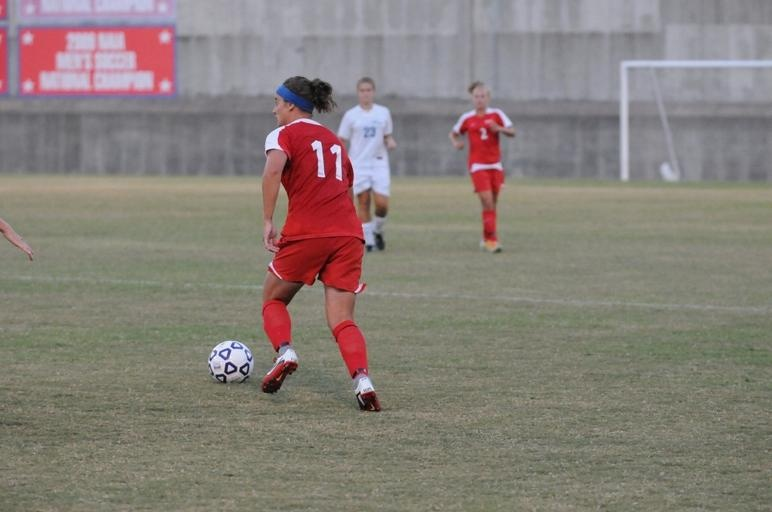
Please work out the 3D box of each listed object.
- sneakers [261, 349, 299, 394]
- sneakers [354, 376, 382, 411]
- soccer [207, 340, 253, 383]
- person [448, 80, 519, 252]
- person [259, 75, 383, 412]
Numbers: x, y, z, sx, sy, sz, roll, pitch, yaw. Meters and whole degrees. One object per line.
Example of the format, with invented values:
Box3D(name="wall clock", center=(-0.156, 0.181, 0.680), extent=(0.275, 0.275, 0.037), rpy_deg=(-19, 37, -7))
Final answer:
Box3D(name="sneakers", center=(-0.847, 0.920, 14.384), extent=(0.122, 0.340, 0.187), rpy_deg=(46, 16, 5))
Box3D(name="sneakers", center=(-0.163, 1.061, 14.071), extent=(0.182, 0.285, 0.105), rpy_deg=(-19, 22, 15))
Box3D(name="soccer", center=(-1.311, 0.856, 14.652), extent=(0.365, 0.326, 0.340), rpy_deg=(1, -23, -14))
Box3D(name="person", center=(0.916, -0.870, 17.388), extent=(0.558, 1.658, 0.357), rpy_deg=(0, 5, 27))
Box3D(name="person", center=(-0.573, 0.047, 14.300), extent=(0.913, 2.289, 0.782), rpy_deg=(-2, 4, 0))
